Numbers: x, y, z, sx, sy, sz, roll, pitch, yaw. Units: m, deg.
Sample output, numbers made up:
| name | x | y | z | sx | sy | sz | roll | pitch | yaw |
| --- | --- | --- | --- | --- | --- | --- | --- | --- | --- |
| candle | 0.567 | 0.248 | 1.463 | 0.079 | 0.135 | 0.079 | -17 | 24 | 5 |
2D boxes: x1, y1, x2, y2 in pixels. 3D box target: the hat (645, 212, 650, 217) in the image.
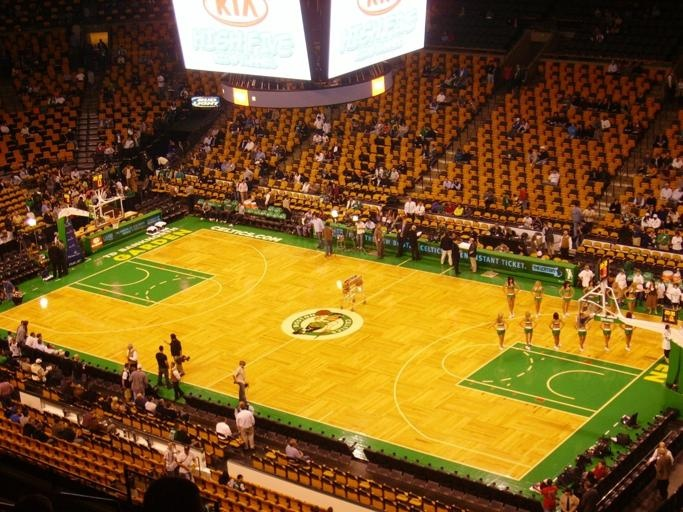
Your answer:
| name | x | y | z | sx | sy | sz | roll | pitch | yaw |
| --- | --- | --- | --- | --- | --- | --- | --- | --- | --- |
| hat | 14.985 | -2.047 | 32.876 | 0.173 | 0.044 | 0.189 | 20 | 53 | 32 |
